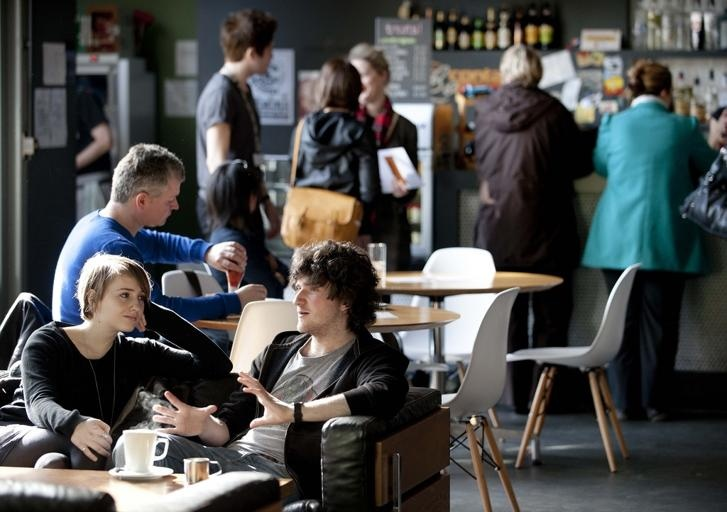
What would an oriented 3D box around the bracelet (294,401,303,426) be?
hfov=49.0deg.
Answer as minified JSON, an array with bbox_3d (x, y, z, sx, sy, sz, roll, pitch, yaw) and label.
[{"bbox_3d":[-0.239,0.567,2.908,0.036,0.065,0.058,2,5,4],"label":"bracelet"}]

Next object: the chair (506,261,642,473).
[{"bbox_3d":[1.249,0.640,4.887,0.724,1.166,0.654,1,2,37],"label":"chair"}]

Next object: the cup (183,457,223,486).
[{"bbox_3d":[-0.523,0.691,2.586,0.122,0.093,0.079,2,-2,-1],"label":"cup"}]

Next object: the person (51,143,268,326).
[{"bbox_3d":[-1.102,-0.220,4.183,0.975,1.474,0.884,-5,17,-23],"label":"person"}]

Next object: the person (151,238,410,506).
[{"bbox_3d":[-0.335,0.376,3.389,0.967,1.321,0.843,16,-9,-28],"label":"person"}]

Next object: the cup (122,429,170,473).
[{"bbox_3d":[-0.706,0.644,2.647,0.162,0.163,0.111,3,-5,-12],"label":"cup"}]
